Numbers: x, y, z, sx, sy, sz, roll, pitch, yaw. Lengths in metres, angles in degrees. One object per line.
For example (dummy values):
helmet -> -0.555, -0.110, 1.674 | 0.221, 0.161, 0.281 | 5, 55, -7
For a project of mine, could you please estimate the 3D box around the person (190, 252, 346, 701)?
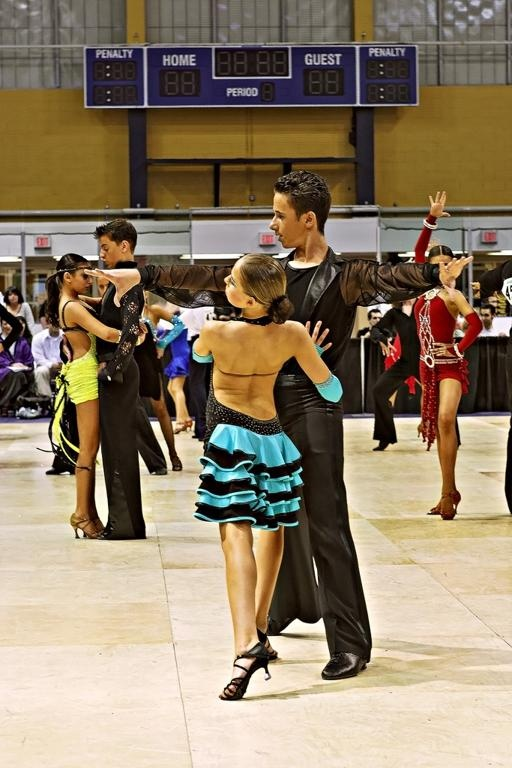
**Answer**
person -> -0.015, 0.265, 2.485 | 0.327, 1.276, 0.393 | 1, -1, 32

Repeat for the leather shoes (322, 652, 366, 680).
leather shoes -> 0.280, 0.879, 2.581 | 0.057, 0.051, 0.140 | -23, -17, 32

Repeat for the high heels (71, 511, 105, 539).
high heels -> -1.006, 0.885, 5.159 | 0.128, 0.110, 0.244 | 11, 7, 41

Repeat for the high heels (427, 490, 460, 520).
high heels -> 1.369, 0.837, 5.751 | 0.329, 0.204, 0.119 | -7, -1, 14

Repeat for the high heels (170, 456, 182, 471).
high heels -> -0.782, 0.784, 8.120 | 0.157, 0.149, 0.418 | 0, -4, -2

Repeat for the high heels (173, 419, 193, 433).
high heels -> -1.007, 0.607, 11.577 | 0.421, 0.152, 0.148 | -5, 3, 16
